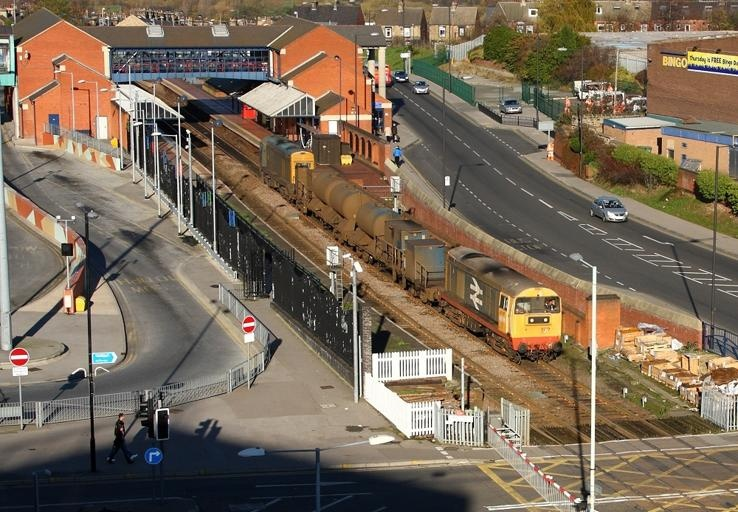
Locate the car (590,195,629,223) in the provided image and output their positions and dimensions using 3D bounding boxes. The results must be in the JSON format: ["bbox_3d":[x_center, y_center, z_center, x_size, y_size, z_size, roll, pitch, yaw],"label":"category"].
[{"bbox_3d":[23.850,-4.396,160.782,2.443,2.132,3.857,-3,10,-18],"label":"car"}]

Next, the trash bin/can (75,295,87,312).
[{"bbox_3d":[-24.567,4.355,137.707,1.013,1.540,1.659,1,2,-1],"label":"trash bin/can"}]

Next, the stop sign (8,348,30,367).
[{"bbox_3d":[-25.477,7.589,118.429,1.090,1.477,1.240,-2,9,-7],"label":"stop sign"}]
